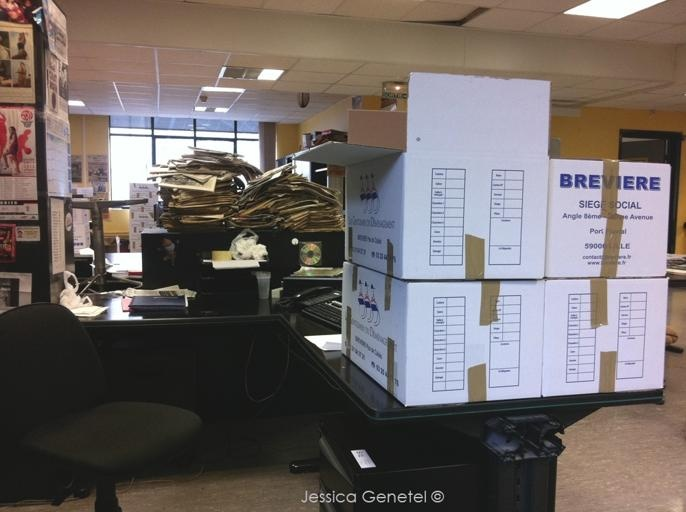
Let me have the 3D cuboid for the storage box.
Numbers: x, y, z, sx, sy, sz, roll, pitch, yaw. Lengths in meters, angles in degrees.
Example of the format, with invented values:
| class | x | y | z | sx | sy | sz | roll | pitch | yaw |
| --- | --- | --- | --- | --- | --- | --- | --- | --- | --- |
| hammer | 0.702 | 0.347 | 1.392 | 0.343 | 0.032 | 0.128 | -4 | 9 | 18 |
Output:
| class | x | y | z | sx | sy | sz | roll | pitch | yaw |
| --- | --- | --- | --- | --- | --- | --- | --- | --- | --- |
| storage box | 0.291 | -0.036 | 2.418 | 1.241 | 1.045 | 0.904 | 1 | 1 | -15 |

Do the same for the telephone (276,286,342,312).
| class | x | y | z | sx | sy | sz | roll | pitch | yaw |
| --- | --- | --- | --- | --- | --- | --- | --- | --- | --- |
| telephone | -0.159 | 0.196 | 2.969 | 0.221 | 0.052 | 0.123 | -12 | 13 | -33 |

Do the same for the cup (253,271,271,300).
| class | x | y | z | sx | sy | sz | roll | pitch | yaw |
| --- | --- | --- | --- | --- | --- | --- | --- | --- | --- |
| cup | -0.391 | 0.151 | 3.292 | 0.130 | 0.180 | 0.094 | 1 | 0 | -6 |
